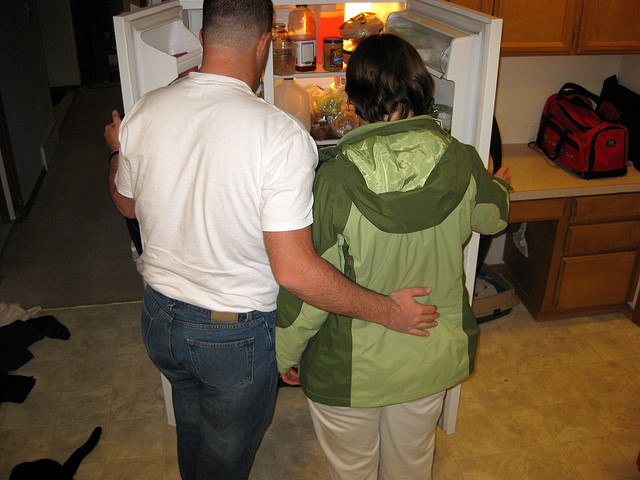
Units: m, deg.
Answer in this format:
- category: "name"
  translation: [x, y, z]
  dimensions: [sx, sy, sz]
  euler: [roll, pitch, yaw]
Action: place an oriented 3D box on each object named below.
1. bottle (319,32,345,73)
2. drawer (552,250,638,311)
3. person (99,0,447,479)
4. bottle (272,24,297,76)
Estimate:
- category: "bottle"
  translation: [0.048, -0.993, 2.806]
  dimensions: [0.151, 0.177, 0.155]
  euler: [7, 21, 28]
- category: "drawer"
  translation: [1.846, 0.257, 3.530]
  dimensions: [0.353, 0.342, 0.193]
  euler: [-4, 39, -6]
- category: "person"
  translation: [-0.294, 0.182, 2.013]
  dimensions: [1.233, 1.996, 0.509]
  euler: [7, 26, 10]
- category: "bottle"
  translation: [-0.200, -1.018, 2.767]
  dimensions: [0.172, 0.253, 0.167]
  euler: [-1, 12, 0]
